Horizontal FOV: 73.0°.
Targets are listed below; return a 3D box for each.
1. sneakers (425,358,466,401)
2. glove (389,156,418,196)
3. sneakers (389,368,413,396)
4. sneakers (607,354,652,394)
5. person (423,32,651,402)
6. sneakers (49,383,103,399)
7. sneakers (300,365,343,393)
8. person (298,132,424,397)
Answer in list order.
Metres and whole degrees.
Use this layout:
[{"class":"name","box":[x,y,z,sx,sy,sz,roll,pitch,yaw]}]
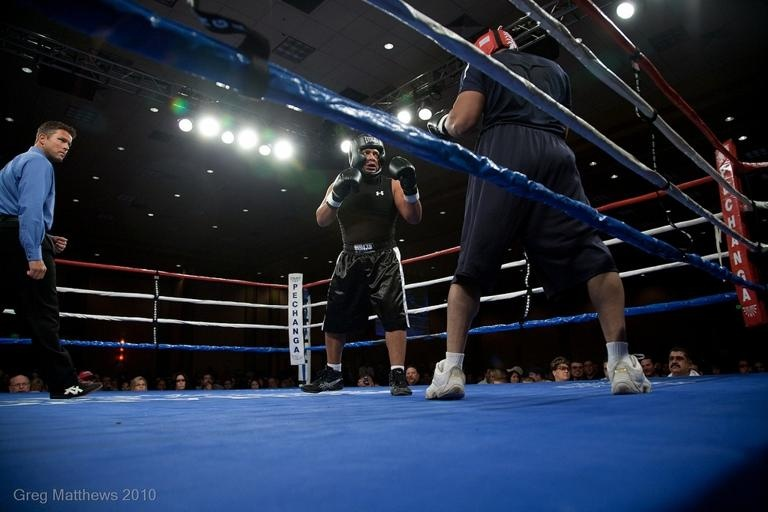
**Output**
[{"class":"sneakers","box":[0.279,0.559,2.279,0.167,0.180,0.404,-1,-20,-8]},{"class":"glove","box":[0.110,-0.487,3.016,0.163,0.285,0.227,1,-13,0]},{"class":"sneakers","box":[0.090,0.672,2.792,0.100,0.135,0.188,1,-13,-2]},{"class":"sneakers","box":[0.979,0.479,2.061,0.091,0.103,0.246,-13,-15,32]},{"class":"person","box":[0.623,-0.289,2.242,0.886,1.769,0.387,0,-14,4]},{"class":"sneakers","box":[-1.672,0.726,2.826,0.223,0.080,0.075,3,6,-41]},{"class":"sneakers","box":[-0.396,0.799,3.348,0.322,0.169,0.119,3,-13,-16]},{"class":"person","box":[-0.093,-0.082,3.251,0.709,1.825,0.974,3,-14,-9]}]
